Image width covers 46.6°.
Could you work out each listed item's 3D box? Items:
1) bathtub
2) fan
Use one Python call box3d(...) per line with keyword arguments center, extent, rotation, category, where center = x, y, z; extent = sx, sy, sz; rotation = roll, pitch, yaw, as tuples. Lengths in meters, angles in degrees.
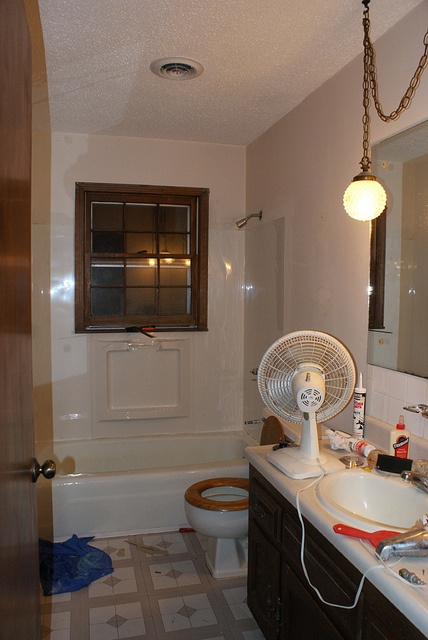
box3d(center=(-0.563, 0.862, 3.653), extent=(1.790, 0.588, 1.434), rotation=(6, 4, -25), category="bathtub")
box3d(center=(0.328, 0.276, 1.724), extent=(0.325, 0.471, 0.265), rotation=(0, 4, 4), category="fan")
